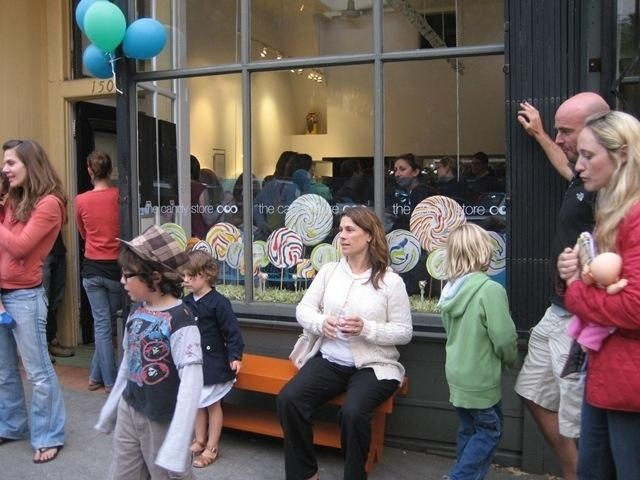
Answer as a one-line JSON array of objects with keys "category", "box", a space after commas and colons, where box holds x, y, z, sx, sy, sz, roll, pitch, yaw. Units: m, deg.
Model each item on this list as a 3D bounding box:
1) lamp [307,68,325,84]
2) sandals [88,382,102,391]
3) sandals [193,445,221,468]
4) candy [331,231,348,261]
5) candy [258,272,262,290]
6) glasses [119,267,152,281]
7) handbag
[{"category": "lamp", "box": [-0.030, -1.337, 4.791, 0.151, 0.108, 0.035, 4, 10, 29]}, {"category": "sandals", "box": [-2.086, 1.369, 5.436, 0.140, 0.045, 0.054, 14, 3, -7]}, {"category": "sandals", "box": [-0.796, 1.511, 4.083, 0.073, 0.078, 0.202, -2, -4, 16]}, {"category": "candy", "box": [0.157, 0.045, 4.721, 0.052, 0.182, 0.145, -5, 26, -13]}, {"category": "candy", "box": [-0.486, 0.342, 4.897, 0.038, 0.129, 0.045, -2, 8, -6]}, {"category": "glasses", "box": [-0.926, 0.178, 2.969, 0.164, 0.065, 0.046, 0, 9, 9]}, {"category": "handbag", "box": [-0.051, 0.505, 4.089, 0.329, 0.718, 0.387, 7, 9, 19]}]
